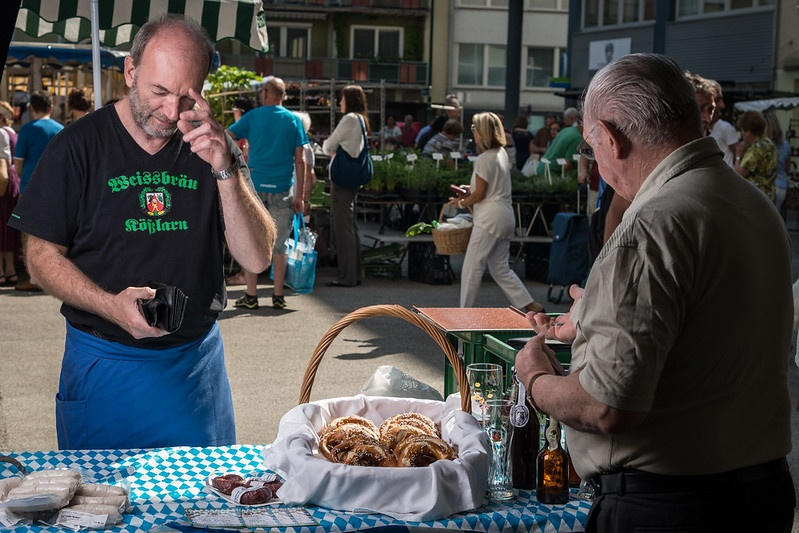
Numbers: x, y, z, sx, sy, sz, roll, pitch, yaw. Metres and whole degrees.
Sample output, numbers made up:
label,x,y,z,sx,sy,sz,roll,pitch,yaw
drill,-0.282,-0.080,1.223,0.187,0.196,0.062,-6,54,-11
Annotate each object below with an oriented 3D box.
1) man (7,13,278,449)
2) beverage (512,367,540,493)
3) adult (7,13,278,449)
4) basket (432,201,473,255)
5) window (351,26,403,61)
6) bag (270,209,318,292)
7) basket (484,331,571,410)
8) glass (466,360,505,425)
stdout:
label,x,y,z,sx,sy,sz,roll,pitch,yaw
man,-1.169,-0.125,4.528,1.113,1.989,0.597,0,3,-10
beverage,0.548,0.702,4.385,0.108,0.509,0.115,5,-8,-20
adult,-1.170,-0.125,4.530,1.110,1.989,0.591,0,3,-10
basket,0.515,-0.356,10.355,0.364,0.535,0.489,-1,1,-8
window,-1.008,-9.028,40.800,1.997,1.476,0.156,1,-12,-4
bag,-1.135,-0.164,10.439,0.259,0.898,0.641,-5,21,-22
basket,0.699,0.579,5.498,0.293,0.214,0.436,2,6,-9
glass,0.400,0.550,4.514,0.161,0.279,0.165,5,-22,-26
